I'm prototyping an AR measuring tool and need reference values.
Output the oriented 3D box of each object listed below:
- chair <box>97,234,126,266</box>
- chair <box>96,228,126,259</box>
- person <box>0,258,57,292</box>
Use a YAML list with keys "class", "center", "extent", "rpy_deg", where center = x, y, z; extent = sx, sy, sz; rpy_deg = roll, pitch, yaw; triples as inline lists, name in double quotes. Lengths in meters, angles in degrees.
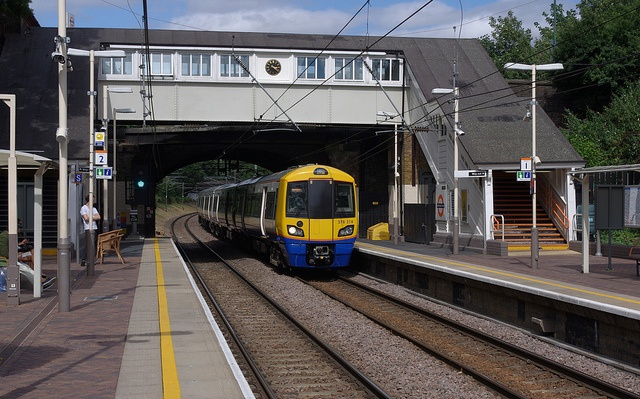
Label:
- class: "chair"
  center: [-9.015, 2.061, 24.565]
  extent: [1.342, 1.856, 1.506]
  rpy_deg: [3, -5, -21]
- class: "chair"
  center: [-9.016, 1.869, 24.532]
  extent: [1.380, 1.917, 1.474]
  rpy_deg: [3, -4, -19]
- class: "person"
  center: [-9.064, 2.330, 17.899]
  extent: [1.323, 1.094, 1.515]
  rpy_deg: [5, 3, 4]
